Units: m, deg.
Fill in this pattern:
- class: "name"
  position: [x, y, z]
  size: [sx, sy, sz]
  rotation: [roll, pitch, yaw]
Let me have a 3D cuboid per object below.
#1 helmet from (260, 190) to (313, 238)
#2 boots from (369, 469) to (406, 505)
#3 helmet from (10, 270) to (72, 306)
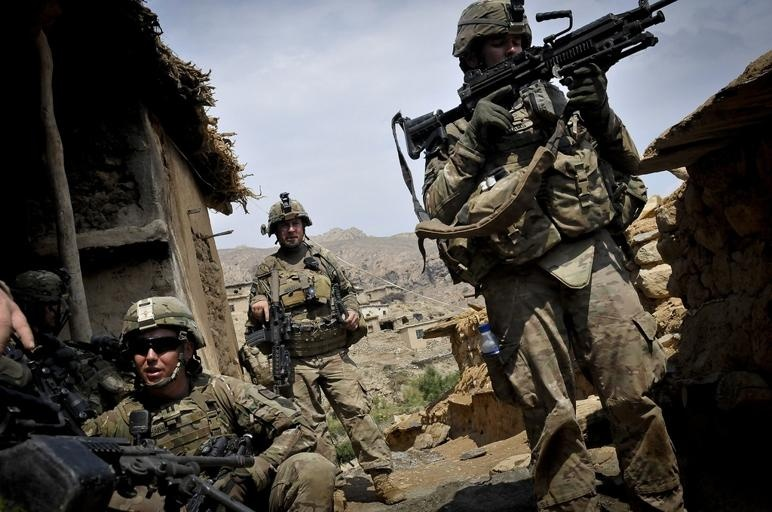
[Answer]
- class: "helmet"
  position: [-1.091, -0.410, 6.734]
  size: [0.505, 0.474, 0.579]
  rotation: [-4, -31, -8]
- class: "boots"
  position: [0.055, 2.469, 6.692]
  size: [0.249, 0.327, 0.433]
  rotation: [-6, -11, -31]
- class: "helmet"
  position: [-3.085, 0.274, 5.556]
  size: [0.295, 0.140, 0.414]
  rotation: [4, 5, 18]
